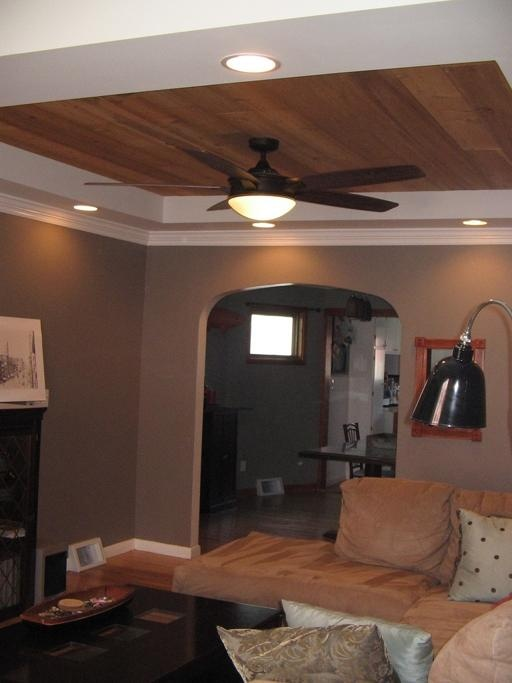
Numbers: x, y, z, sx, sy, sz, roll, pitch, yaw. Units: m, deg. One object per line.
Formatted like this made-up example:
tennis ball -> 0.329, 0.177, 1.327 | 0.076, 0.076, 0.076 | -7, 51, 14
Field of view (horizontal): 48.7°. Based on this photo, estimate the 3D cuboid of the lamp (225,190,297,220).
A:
lamp -> 0.022, -0.618, 2.589 | 0.252, 0.071, 0.255 | 0, -1, 42

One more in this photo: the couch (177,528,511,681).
couch -> 0.302, 1.044, 2.727 | 1.268, 0.189, 0.705 | 2, 1, 33

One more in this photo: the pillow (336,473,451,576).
pillow -> 0.774, 1.027, 3.101 | 0.707, 0.446, 0.295 | -7, -3, 43

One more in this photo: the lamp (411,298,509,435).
lamp -> 0.727, 0.102, 2.108 | 0.272, 0.419, 0.203 | 1, -1, -5
